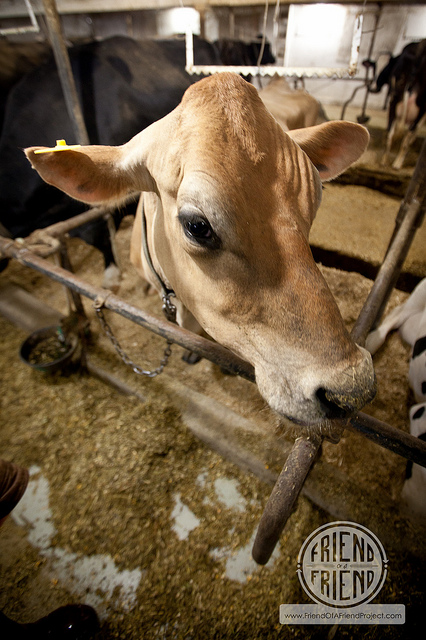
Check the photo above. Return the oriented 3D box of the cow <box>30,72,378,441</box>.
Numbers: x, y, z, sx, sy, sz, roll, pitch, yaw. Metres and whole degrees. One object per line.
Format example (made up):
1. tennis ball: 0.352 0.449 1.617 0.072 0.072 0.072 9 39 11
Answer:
1. cow: 0.086 -0.276 2.034 1.568 1.166 0.728 31 52 28
